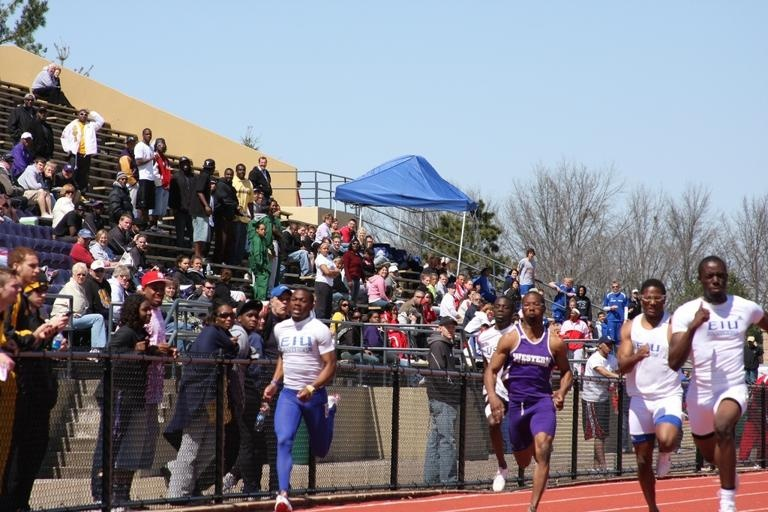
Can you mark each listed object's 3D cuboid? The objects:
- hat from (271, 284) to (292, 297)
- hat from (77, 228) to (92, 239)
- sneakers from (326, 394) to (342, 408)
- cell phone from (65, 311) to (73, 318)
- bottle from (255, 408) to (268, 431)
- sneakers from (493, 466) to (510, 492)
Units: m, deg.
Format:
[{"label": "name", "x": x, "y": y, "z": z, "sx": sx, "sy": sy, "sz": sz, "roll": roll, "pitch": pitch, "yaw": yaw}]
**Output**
[{"label": "hat", "x": -1.716, "y": 0.558, "z": 20.495, "sx": 0.266, "sy": 0.198, "sz": 0.430, "roll": 8, "pitch": -14, "yaw": -15}, {"label": "hat", "x": -5.950, "y": -0.443, "z": 24.879, "sx": 0.260, "sy": 0.158, "sz": 0.387, "roll": 4, "pitch": 2, "yaw": -34}, {"label": "sneakers", "x": -0.797, "y": 2.201, "z": 19.087, "sx": 0.265, "sy": 0.166, "sz": 0.375, "roll": 3, "pitch": -8, "yaw": 7}, {"label": "cell phone", "x": -4.867, "y": 0.888, "z": 19.276, "sx": 0.081, "sy": 0.098, "sz": 0.355, "roll": 16, "pitch": -5, "yaw": -13}, {"label": "bottle", "x": -1.825, "y": 2.456, "z": 18.840, "sx": 0.202, "sy": 0.326, "sz": 0.210, "roll": 0, "pitch": -13, "yaw": 0}, {"label": "sneakers", "x": 1.833, "y": 3.507, "z": 19.867, "sx": 0.164, "sy": 0.203, "sz": 0.501, "roll": 3, "pitch": 32, "yaw": 14}]
